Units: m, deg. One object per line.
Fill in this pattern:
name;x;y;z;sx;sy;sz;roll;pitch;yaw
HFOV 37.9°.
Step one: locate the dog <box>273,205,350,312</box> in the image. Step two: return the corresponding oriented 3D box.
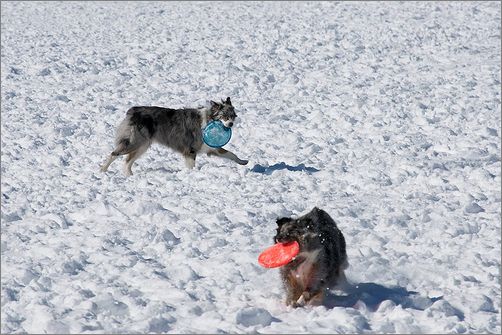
dog;1.405;2.049;16.302;1.589;1.367;2.006;-4;64;1
